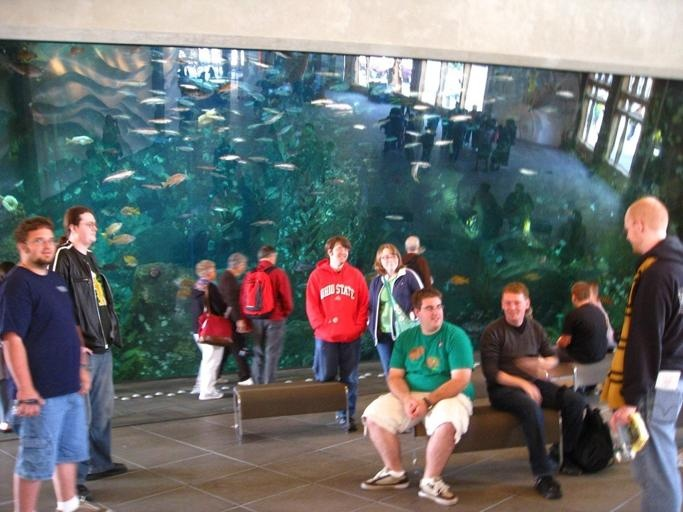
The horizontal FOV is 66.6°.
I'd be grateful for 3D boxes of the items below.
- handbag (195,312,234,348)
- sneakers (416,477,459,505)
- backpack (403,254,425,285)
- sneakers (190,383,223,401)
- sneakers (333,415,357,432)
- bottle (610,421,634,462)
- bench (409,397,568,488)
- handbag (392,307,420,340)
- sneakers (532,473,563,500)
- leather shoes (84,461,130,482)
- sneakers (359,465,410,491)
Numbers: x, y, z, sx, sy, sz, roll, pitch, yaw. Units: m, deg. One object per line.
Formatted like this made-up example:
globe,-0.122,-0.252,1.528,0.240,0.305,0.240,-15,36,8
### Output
handbag,-1.729,0.985,7.034,0.470,0.408,0.183,10,-25,-26
sneakers,0.817,1.982,4.456,0.321,0.163,0.157,2,6,26
backpack,0.959,0.187,6.910,0.385,0.362,0.209,-3,23,37
sneakers,-1.902,1.918,7.396,0.500,0.192,0.183,-2,17,-9
sneakers,0.034,2.023,6.316,0.106,0.111,0.280,-6,15,-37
bottle,1.987,1.278,3.632,0.160,0.247,0.070,3,7,39
bench,1.400,1.753,4.934,1.389,0.608,0.465,-2,2,-3
handbag,0.769,0.836,6.494,0.130,0.337,0.362,23,-31,-20
sneakers,1.793,1.985,4.496,0.130,0.097,0.239,-7,2,-12
leather shoes,-2.278,2.057,5.022,0.323,0.114,0.103,-7,14,-31
sneakers,0.407,2.030,4.772,0.513,0.197,0.164,2,-8,1
